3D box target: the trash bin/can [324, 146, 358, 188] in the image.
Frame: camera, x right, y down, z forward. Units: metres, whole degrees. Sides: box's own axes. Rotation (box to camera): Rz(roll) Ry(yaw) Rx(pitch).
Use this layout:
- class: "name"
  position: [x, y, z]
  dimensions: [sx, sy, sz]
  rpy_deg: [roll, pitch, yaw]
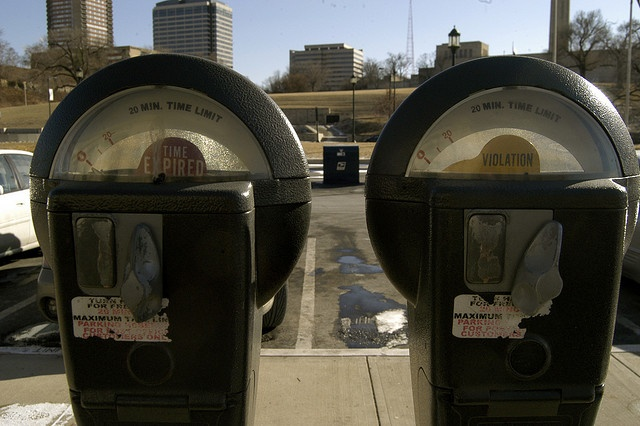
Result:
- class: "trash bin/can"
  position: [0.455, -1.029, 14.140]
  dimensions: [0.793, 0.825, 0.442]
  rpy_deg: [0, 10, 4]
